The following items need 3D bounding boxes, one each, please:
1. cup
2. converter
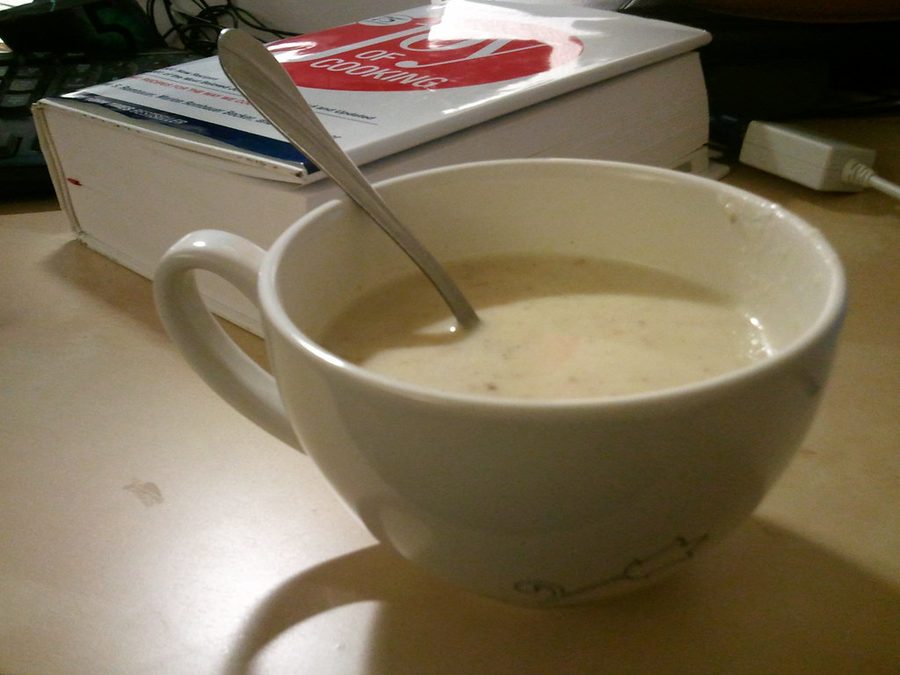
[{"bbox_3d":[0.041,0.005,0.325,0.226,0.111,0.222,-4,39,4],"label":"cup"},{"bbox_3d":[0.339,-0.177,0.669,0.119,0.041,0.083,-29,53,-36],"label":"converter"}]
